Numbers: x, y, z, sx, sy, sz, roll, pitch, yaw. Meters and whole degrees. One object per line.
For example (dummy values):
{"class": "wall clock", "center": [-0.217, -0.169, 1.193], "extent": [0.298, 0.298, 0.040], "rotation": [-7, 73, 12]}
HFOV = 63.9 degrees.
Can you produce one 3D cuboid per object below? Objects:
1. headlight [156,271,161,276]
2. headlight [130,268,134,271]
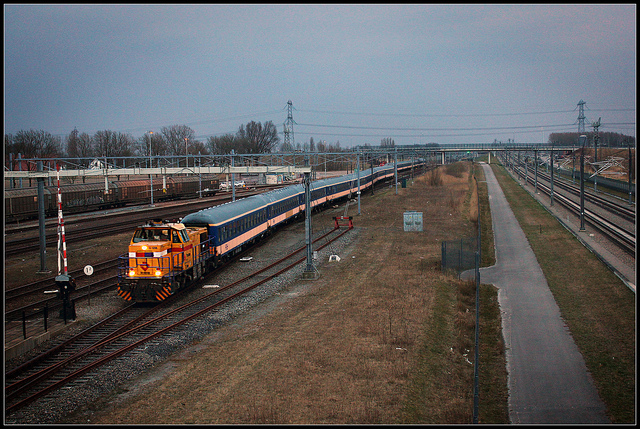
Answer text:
{"class": "headlight", "center": [-9.966, 3.593, 31.466], "extent": [0.238, 0.267, 0.079], "rotation": [-7, 8, -11]}
{"class": "headlight", "center": [-11.664, 3.365, 31.652], "extent": [0.292, 0.161, 0.068], "rotation": [-1, 9, 26]}
